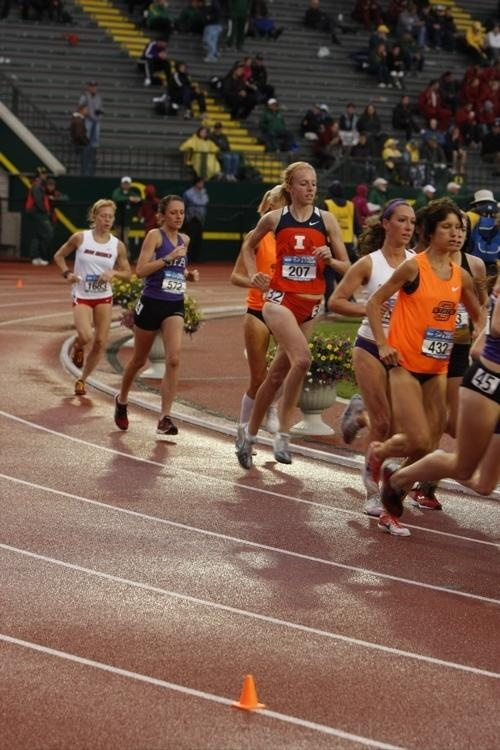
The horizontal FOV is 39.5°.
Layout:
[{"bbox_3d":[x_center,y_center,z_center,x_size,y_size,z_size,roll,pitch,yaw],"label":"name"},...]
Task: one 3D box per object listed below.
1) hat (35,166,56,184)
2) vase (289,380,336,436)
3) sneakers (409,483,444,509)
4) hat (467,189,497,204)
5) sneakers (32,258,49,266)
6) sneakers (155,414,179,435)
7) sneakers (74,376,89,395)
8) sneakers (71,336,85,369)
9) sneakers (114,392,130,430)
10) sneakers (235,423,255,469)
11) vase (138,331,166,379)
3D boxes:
[{"bbox_3d":[-7.240,-7.104,24.856,0.463,0.410,1.330,-14,18,-6],"label":"hat"},{"bbox_3d":[0.793,0.379,7.983,0.443,0.472,0.430,-3,-15,30],"label":"vase"},{"bbox_3d":[1.418,0.998,5.657,0.118,0.143,0.331,-2,2,-31],"label":"sneakers"},{"bbox_3d":[2.983,-2.260,8.899,0.222,0.168,0.282,3,1,10],"label":"hat"},{"bbox_3d":[-7.599,-4.090,25.442,0.561,0.176,0.286,2,1,-27],"label":"sneakers"},{"bbox_3d":[-0.897,0.557,7.520,0.136,0.136,0.290,0,0,-22],"label":"sneakers"},{"bbox_3d":[-2.258,0.174,9.333,0.153,0.169,0.278,3,1,-14],"label":"sneakers"},{"bbox_3d":[-2.521,-0.302,10.271,0.194,0.548,0.226,-2,-13,-24],"label":"sneakers"},{"bbox_3d":[-1.383,0.396,7.655,0.141,0.392,0.179,-11,8,-31],"label":"sneakers"},{"bbox_3d":[-0.051,0.647,6.206,0.151,0.420,0.185,-6,4,-4],"label":"sneakers"},{"bbox_3d":[-1.475,-0.314,11.012,0.702,0.719,0.700,1,2,-9],"label":"vase"}]
